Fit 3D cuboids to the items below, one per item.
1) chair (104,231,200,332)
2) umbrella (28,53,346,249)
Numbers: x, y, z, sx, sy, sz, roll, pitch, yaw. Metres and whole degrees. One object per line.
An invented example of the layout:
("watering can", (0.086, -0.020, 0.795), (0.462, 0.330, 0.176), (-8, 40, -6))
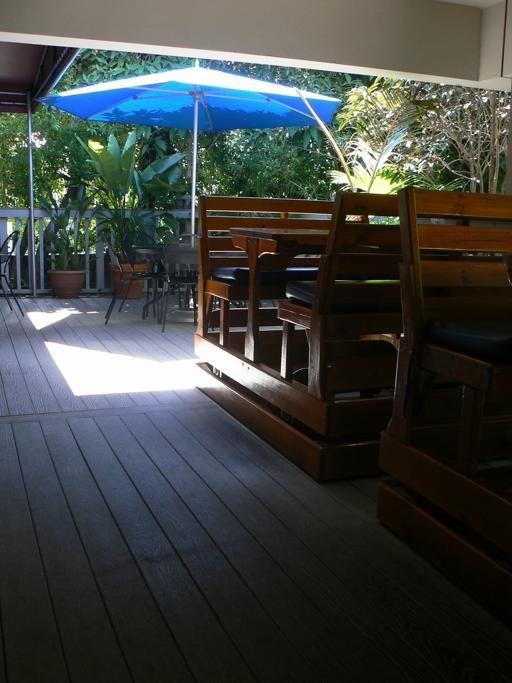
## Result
("chair", (-1.226, -0.683, 5.815), (1.032, 1.324, 0.967), (-4, 28, -23))
("umbrella", (-0.862, -2.596, 6.166), (2.753, 1.843, 2.620), (-2, 1, -20))
